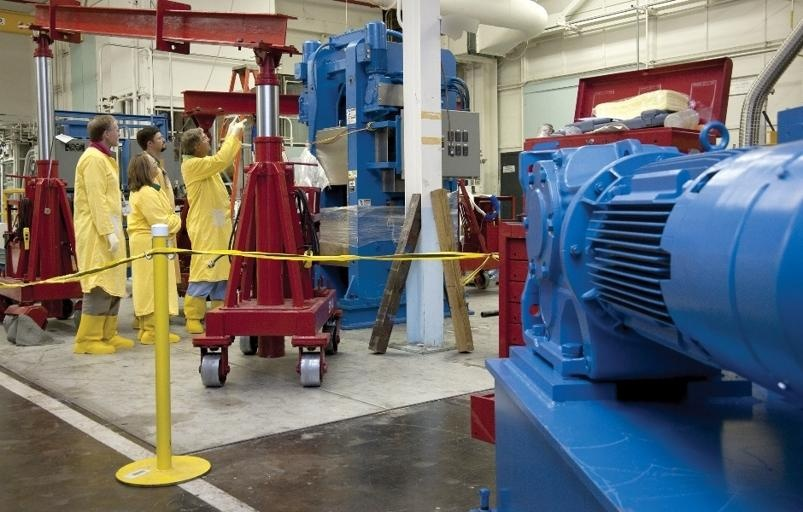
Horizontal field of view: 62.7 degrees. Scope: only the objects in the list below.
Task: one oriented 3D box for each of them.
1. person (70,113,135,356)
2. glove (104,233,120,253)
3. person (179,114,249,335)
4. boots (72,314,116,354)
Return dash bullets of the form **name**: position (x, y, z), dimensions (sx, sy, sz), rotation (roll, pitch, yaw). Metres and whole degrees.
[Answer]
- **person**: position (-3.067, -0.225, 6.629), dimensions (0.544, 2.400, 0.795), rotation (-4, 8, -22)
- **glove**: position (-2.874, -0.143, 6.591), dimensions (0.142, 0.150, 0.177), rotation (2, -5, -28)
- **person**: position (-1.998, -0.226, 6.965), dimensions (0.598, 2.297, 1.499), rotation (-4, 8, -20)
- **boots**: position (-3.076, 0.766, 6.602), dimensions (0.313, 0.396, 0.309), rotation (-7, 9, -38)
